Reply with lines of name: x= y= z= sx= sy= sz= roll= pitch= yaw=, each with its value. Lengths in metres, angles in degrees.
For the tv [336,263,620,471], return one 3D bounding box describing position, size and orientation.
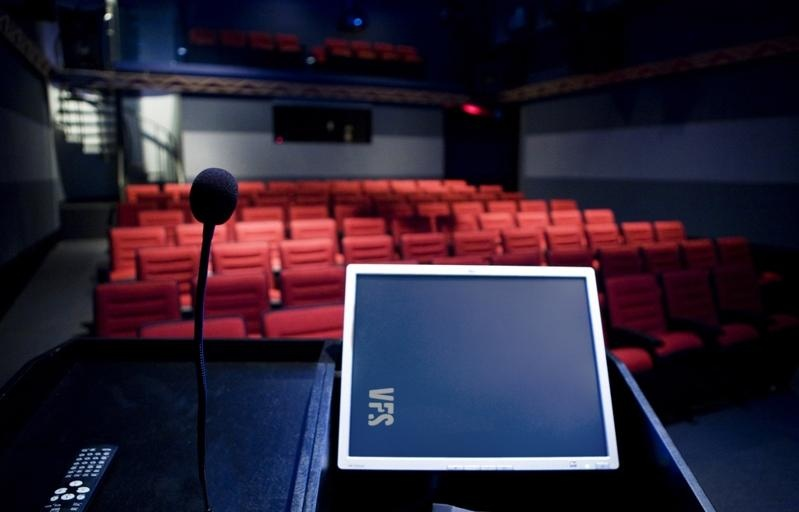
tv: x=0.336 y=0.512 z=2.478 sx=1.239 sy=0.923 sz=0.069 roll=-1 pitch=-19 yaw=7
